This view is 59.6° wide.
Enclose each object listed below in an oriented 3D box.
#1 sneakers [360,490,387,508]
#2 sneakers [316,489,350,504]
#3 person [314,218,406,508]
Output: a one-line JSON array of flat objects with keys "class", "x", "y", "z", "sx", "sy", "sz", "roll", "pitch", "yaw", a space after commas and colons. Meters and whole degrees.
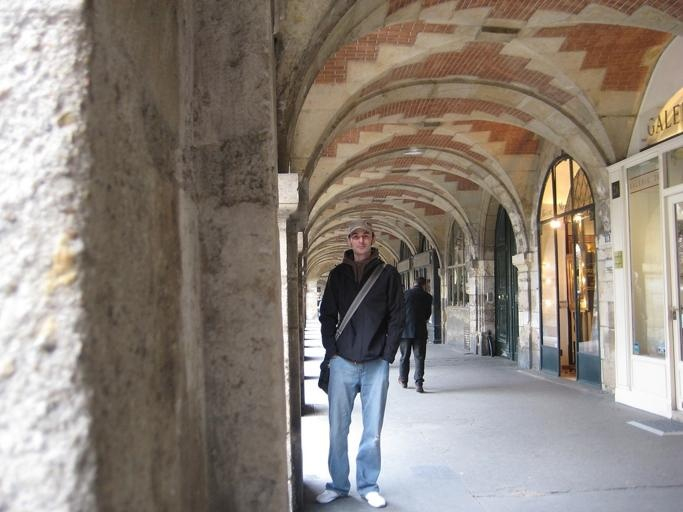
[{"class": "sneakers", "x": 0.203, "y": 1.480, "z": 3.641, "sx": 0.066, "sy": 0.081, "sz": 0.190, "roll": -1, "pitch": -16, "yaw": -19}, {"class": "sneakers", "x": -0.057, "y": 1.490, "z": 3.723, "sx": 0.208, "sy": 0.091, "sz": 0.072, "roll": 8, "pitch": -13, "yaw": -24}, {"class": "person", "x": 0.112, "y": 0.638, "z": 3.730, "sx": 0.562, "sy": 1.760, "sz": 0.377, "roll": -1, "pitch": -4, "yaw": 6}]
